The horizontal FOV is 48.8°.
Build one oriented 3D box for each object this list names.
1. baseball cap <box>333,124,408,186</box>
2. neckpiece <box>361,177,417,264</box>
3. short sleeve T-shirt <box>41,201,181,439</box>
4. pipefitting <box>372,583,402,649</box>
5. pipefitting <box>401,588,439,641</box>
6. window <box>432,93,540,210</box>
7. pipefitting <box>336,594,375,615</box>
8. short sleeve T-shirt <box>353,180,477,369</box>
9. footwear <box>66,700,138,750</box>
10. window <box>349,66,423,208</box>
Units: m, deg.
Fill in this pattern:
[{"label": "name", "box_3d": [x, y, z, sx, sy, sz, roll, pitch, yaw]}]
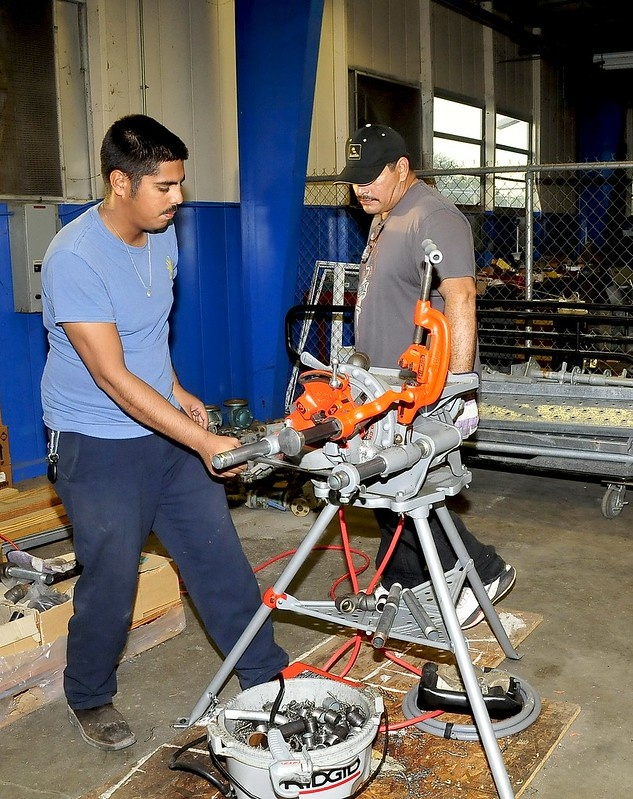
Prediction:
[{"label": "baseball cap", "box_3d": [0.182, -0.914, 2.522, 0.322, 0.179, 0.209, -36, 41, -29]}, {"label": "neckpiece", "box_3d": [0.260, -0.642, 2.446, 0.071, 0.418, 0.068, 35, -9, -40]}, {"label": "short sleeve T-shirt", "box_3d": [-0.596, -0.234, 2.050, 0.433, 0.685, 0.404, -5, 8, -22]}, {"label": "pipefitting", "box_3d": [0.179, 0.547, 1.772, 0.053, 0.061, 0.248, -29, -3, 16]}, {"label": "pipefitting", "box_3d": [0.277, 0.581, 1.869, 0.038, 0.043, 0.165, -12, 17, -7]}, {"label": "window", "box_3d": [3.043, -4.989, 12.407, 0.170, 1.842, 3.352, 11, 15, 44]}, {"label": "pipefitting", "box_3d": [0.103, 0.551, 1.872, 0.070, 0.029, 0.070, -2, 2, 11]}, {"label": "short sleeve T-shirt", "box_3d": [0.321, -0.447, 2.431, 0.227, 0.656, 0.557, -7, 9, -29]}, {"label": "footwear", "box_3d": [-0.689, 1.027, 2.214, 0.240, 0.103, 0.094, 2, 4, 40]}, {"label": "window", "box_3d": [0.887, -3.831, 9.395, 1.088, 0.980, 0.348, -5, 13, -28]}]
